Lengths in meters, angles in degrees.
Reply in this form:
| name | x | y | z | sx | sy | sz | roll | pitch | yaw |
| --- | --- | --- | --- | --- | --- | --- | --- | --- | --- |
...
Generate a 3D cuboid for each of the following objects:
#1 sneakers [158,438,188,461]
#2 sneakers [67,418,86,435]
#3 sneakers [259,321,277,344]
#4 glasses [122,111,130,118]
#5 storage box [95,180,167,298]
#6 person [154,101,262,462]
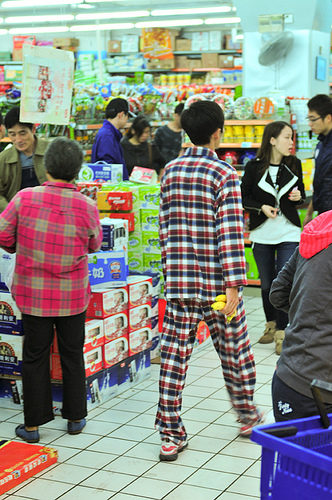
| name | x | y | z | sx | sy | sz | roll | pitch | yaw |
| --- | --- | --- | --- | --- | --- | --- | --- | --- | --- |
| sneakers | 0.035 | 1.064 | 2.250 | 0.073 | 0.077 | 0.181 | 1 | 3 | 16 |
| sneakers | -0.551 | 1.087 | 2.546 | 0.058 | 0.054 | 0.133 | 1 | 12 | 5 |
| sneakers | 1.007 | 0.818 | 4.073 | 0.111 | 0.161 | 0.282 | 1 | 6 | 30 |
| glasses | -0.465 | -1.565 | 4.779 | 0.086 | 0.043 | 0.112 | 9 | 17 | 12 |
| storage box | -0.279 | -0.088 | 3.246 | 0.329 | 0.909 | 0.958 | -4 | 10 | -23 |
| person | 0.268 | 0.156 | 2.289 | 0.799 | 1.839 | 0.597 | -2 | 4 | -26 |
